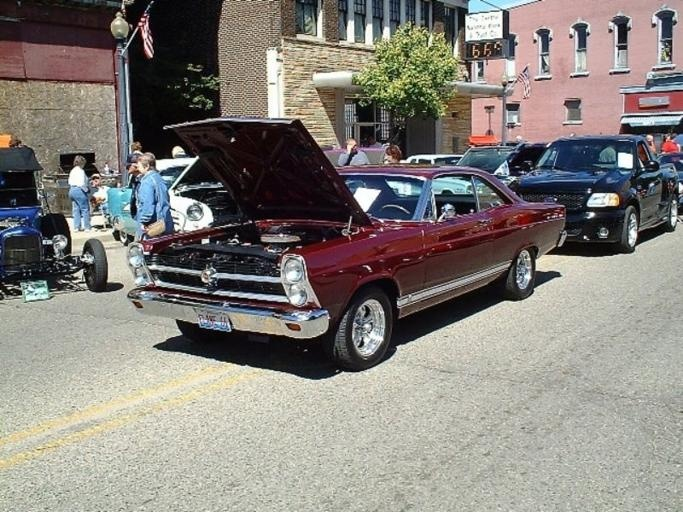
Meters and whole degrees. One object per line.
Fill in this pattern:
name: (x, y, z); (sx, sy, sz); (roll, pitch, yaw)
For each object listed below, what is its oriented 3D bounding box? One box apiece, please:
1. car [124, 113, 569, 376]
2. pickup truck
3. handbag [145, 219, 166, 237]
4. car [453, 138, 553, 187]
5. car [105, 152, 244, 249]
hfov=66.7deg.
car: (0.445, -0.308, 6.732); (5.425, 1.784, 2.827); (-6, 7, -45)
pickup truck: (6.189, -1.623, 12.401); (2.616, 1.521, 4.676); (3, 6, 42)
handbag: (-2.953, -0.420, 8.042); (0.271, 0.110, 0.351); (-29, 11, -38)
car: (5.114, -3.145, 16.462); (3.724, 1.421, 2.152); (-4, 5, -38)
car: (-3.753, -1.219, 11.736); (4.122, 1.365, 2.623); (7, 13, 43)
